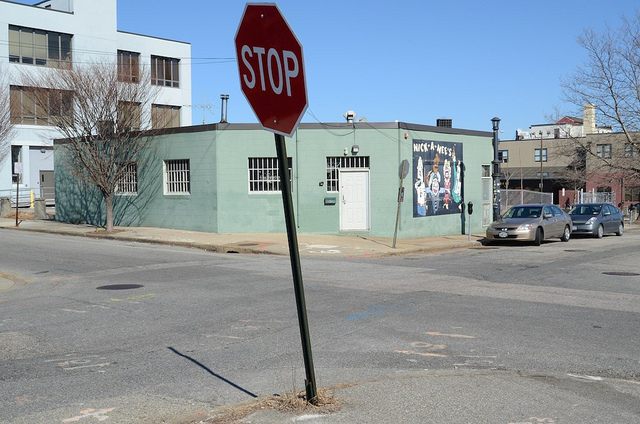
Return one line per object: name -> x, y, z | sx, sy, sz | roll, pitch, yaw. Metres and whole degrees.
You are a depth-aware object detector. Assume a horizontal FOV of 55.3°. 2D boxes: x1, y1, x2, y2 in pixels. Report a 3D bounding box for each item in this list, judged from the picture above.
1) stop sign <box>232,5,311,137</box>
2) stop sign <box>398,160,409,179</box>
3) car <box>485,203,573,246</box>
stop sign -> -0.660, -1.894, 8.126 | 1.099, 1.757, 0.280 | 4, 7, 35
stop sign -> 3.176, -1.610, 22.849 | 0.306, 0.865, 0.122 | 10, 1, 29
car -> 8.980, 0.538, 26.313 | 4.063, 1.665, 1.737 | -5, 8, -43
